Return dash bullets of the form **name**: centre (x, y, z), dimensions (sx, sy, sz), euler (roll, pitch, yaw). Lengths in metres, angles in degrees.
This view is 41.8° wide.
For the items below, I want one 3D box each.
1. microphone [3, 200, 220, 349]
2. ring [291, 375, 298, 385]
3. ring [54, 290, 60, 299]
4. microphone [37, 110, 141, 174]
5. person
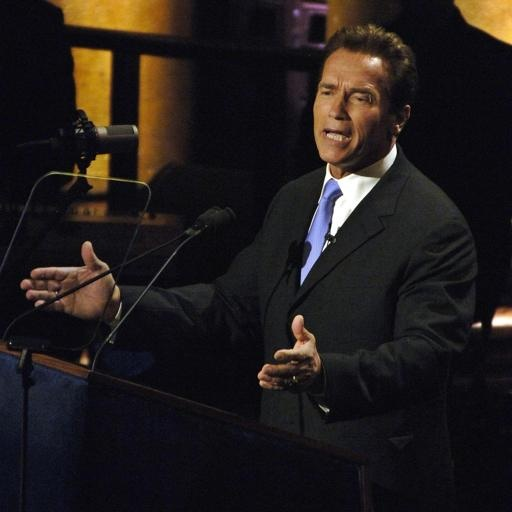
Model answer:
- **microphone**: centre (-0.379, 0.062, 1.814), dimensions (0.712, 0.114, 0.101), euler (-25, 29, -13)
- **ring**: centre (0.084, 0.291, 1.556), dimensions (0.017, 0.026, 0.025), euler (1, -8, -2)
- **ring**: centre (-0.476, 0.093, 1.592), dimensions (0.011, 0.012, 0.011), euler (-1, -26, 0)
- **microphone**: centre (-0.415, -0.274, 1.618), dimensions (0.248, 0.165, 0.074), euler (-5, -4, -22)
- **person**: centre (-0.079, 0.061, 2.617), dimensions (1.247, 2.311, 1.127), euler (5, -5, -38)
